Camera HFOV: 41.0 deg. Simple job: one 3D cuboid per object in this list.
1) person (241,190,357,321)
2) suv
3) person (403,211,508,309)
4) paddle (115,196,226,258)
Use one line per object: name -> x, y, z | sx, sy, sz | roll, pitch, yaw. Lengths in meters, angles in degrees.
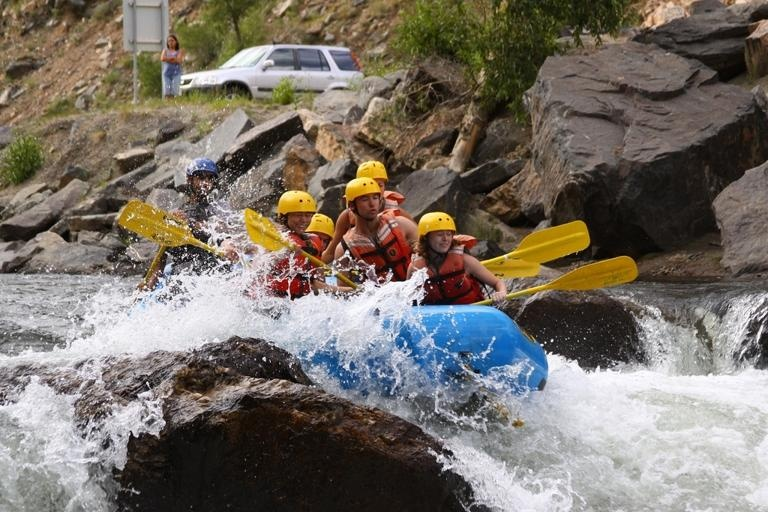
person -> -1.051, 0.058, 13.039 | 0.673, 1.490, 1.357 | -33, 53, 34
suv -> -2.306, -4.105, 23.036 | 3.060, 1.298, 1.767 | 1, 2, -13
person -> 0.944, 0.099, 13.356 | 0.941, 1.686, 0.896 | -17, 2, -24
paddle -> -2.826, -0.412, 13.355 | 1.174, 0.632, 0.357 | 7, 43, 18
